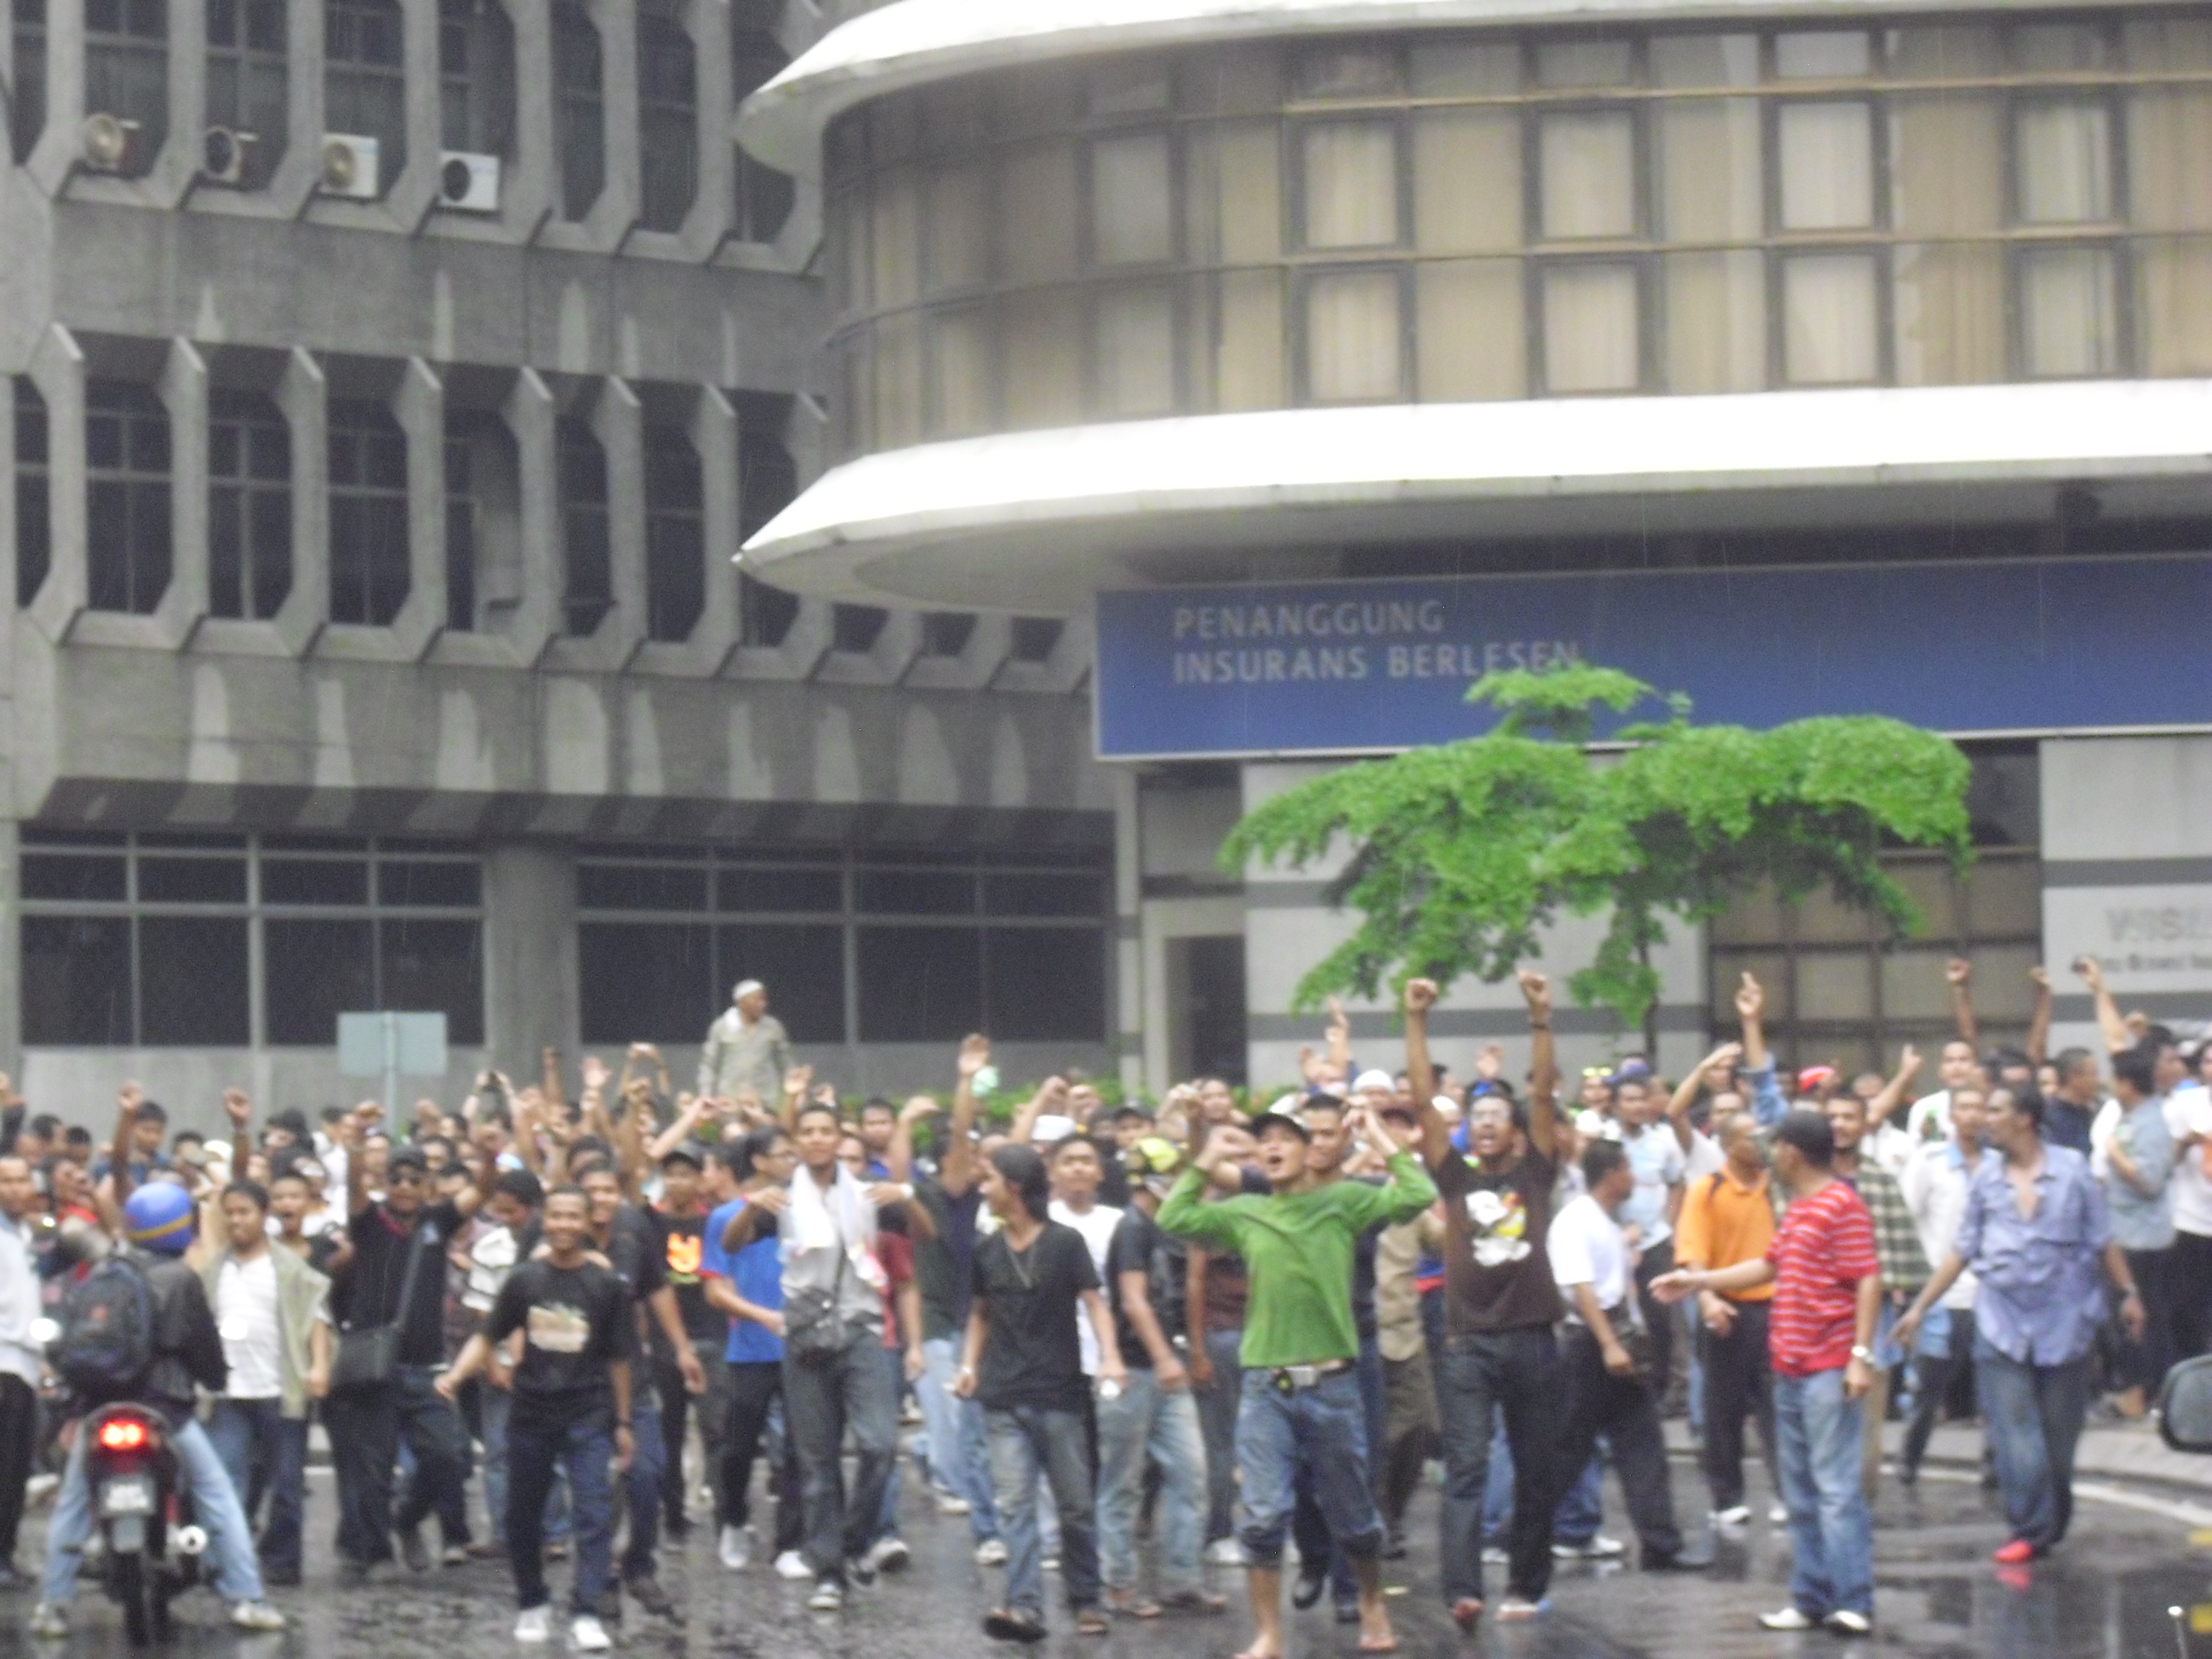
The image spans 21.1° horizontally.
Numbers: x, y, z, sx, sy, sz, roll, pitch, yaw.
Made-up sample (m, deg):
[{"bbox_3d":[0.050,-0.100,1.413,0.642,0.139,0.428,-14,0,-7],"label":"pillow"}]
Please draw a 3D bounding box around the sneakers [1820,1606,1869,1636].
[{"bbox_3d":[5.362,5.726,43.362,0.312,0.198,0.170,-3,-8,2],"label":"sneakers"}]

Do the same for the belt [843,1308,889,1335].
[{"bbox_3d":[-1.879,3.640,44.966,0.212,0.155,0.162,-18,-14,16],"label":"belt"}]

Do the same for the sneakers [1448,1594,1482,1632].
[{"bbox_3d":[2.576,5.683,43.520,0.175,0.115,0.278,4,-38,4],"label":"sneakers"}]

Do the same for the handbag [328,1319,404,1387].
[{"bbox_3d":[-5.737,3.943,45.568,0.512,0.428,0.172,-1,-8,8],"label":"handbag"}]

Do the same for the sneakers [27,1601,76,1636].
[{"bbox_3d":[-7.920,5.834,44.262,0.302,0.290,0.186,1,-1,1],"label":"sneakers"}]

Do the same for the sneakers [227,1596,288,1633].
[{"bbox_3d":[-6.397,5.811,44.311,0.417,0.194,0.177,4,2,-14],"label":"sneakers"}]

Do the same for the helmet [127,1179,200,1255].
[{"bbox_3d":[-7.314,2.846,45.499,0.607,0.452,0.586,-8,-50,-15],"label":"helmet"}]

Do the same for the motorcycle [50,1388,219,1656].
[{"bbox_3d":[-7.166,5.088,44.213,0.650,1.842,0.907,-9,-10,38],"label":"motorcycle"}]

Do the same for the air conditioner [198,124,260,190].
[{"bbox_3d":[-9.753,-7.747,65.682,0.719,0.695,0.510,3,0,34],"label":"air conditioner"}]

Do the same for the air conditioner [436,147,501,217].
[{"bbox_3d":[-7.448,-7.685,67.650,0.601,0.684,1.017,6,5,41],"label":"air conditioner"}]

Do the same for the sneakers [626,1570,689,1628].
[{"bbox_3d":[-3.436,5.710,44.578,0.214,0.235,0.619,-5,17,-42],"label":"sneakers"}]

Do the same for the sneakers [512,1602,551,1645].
[{"bbox_3d":[-4.291,5.814,43.904,0.262,0.285,0.256,-1,0,-22],"label":"sneakers"}]

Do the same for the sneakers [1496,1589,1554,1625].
[{"bbox_3d":[3.066,5.690,43.922,0.235,0.185,0.619,-8,-10,33],"label":"sneakers"}]

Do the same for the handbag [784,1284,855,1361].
[{"bbox_3d":[-2.276,3.666,45.005,0.674,0.739,0.413,2,-14,-8],"label":"handbag"}]

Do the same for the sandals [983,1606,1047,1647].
[{"bbox_3d":[-0.726,5.798,43.619,0.442,0.281,0.196,-2,-8,-5],"label":"sandals"}]
